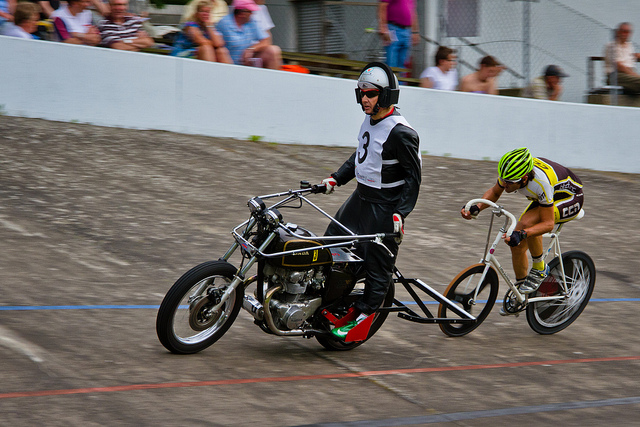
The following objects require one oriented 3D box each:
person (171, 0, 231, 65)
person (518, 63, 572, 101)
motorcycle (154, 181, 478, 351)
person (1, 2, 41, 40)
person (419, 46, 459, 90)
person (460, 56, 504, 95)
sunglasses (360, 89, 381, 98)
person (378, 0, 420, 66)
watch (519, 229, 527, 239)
[{"bbox_3d":[-2.083,-3.237,12.872,1.038,1.046,0.603,5,12,1],"label":"person"},{"bbox_3d":[4.613,-2.725,14.974,0.855,0.747,1.350,7,10,14],"label":"person"},{"bbox_3d":[0.069,0.755,8.065,3.995,1.335,1.432,4,0,-36],"label":"motorcycle"},{"bbox_3d":[-5.054,-3.235,12.190,0.752,0.444,0.543,29,33,35],"label":"person"},{"bbox_3d":[2.374,-2.863,14.321,0.685,0.796,0.659,8,12,16],"label":"person"},{"bbox_3d":[3.208,-2.736,14.333,0.746,0.720,0.654,5,11,2],"label":"person"},{"bbox_3d":[0.536,-1.293,7.798,0.220,0.088,0.074,9,12,30],"label":"sunglasses"},{"bbox_3d":[1.474,-3.498,14.047,0.762,1.220,0.467,3,12,-9],"label":"person"},{"bbox_3d":[2.362,0.245,8.355,0.036,0.079,0.069,-20,-2,9],"label":"watch"}]
